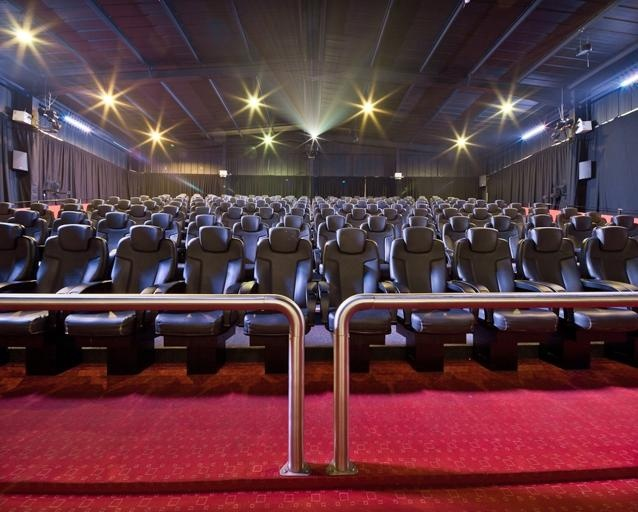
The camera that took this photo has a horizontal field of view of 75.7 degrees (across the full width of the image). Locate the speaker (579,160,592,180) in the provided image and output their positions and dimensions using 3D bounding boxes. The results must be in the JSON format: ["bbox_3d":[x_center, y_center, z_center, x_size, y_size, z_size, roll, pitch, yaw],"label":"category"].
[{"bbox_3d":[7.469,-2.415,11.526,0.178,0.519,0.552,2,-2,1],"label":"speaker"}]
